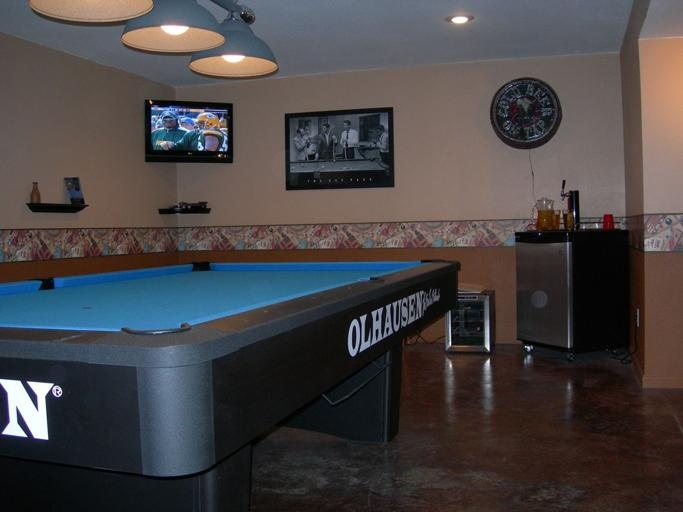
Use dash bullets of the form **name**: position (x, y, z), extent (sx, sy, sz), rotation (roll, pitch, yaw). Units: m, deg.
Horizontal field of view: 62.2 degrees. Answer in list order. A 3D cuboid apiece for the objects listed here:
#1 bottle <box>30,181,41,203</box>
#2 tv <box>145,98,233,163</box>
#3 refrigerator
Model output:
- **bottle**: position (-2.547, -0.521, 4.684), extent (0.082, 0.183, 0.164), rotation (-5, 6, -29)
- **tv**: position (-1.579, -1.259, 5.743), extent (0.665, 0.487, 0.069), rotation (0, 1, -20)
- **refrigerator**: position (1.984, 0.294, 4.874), extent (0.876, 1.005, 0.393), rotation (1, 6, 21)
